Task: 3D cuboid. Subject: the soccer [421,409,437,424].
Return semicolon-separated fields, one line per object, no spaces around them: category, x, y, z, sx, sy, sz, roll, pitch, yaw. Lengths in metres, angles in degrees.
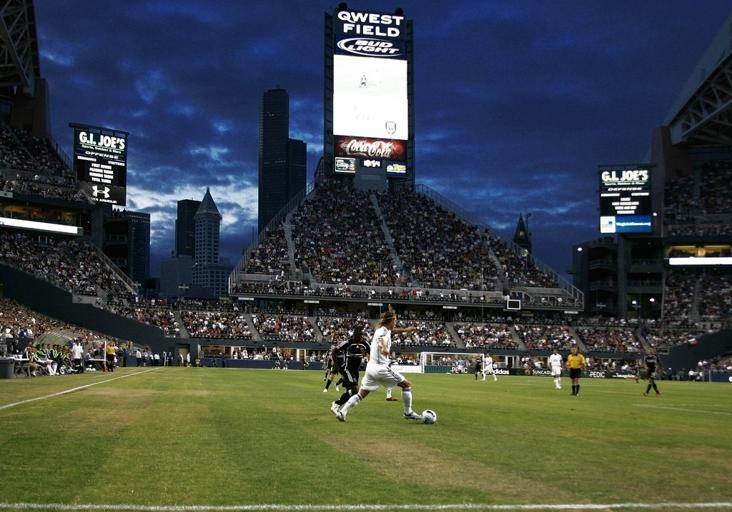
soccer;2.075;5.351;28.016;0.460;0.435;0.517;-1;-1;-1

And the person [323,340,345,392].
person;-1.234;4.907;37.824;0.990;2.463;0.904;5;10;2

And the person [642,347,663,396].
person;14.939;6.079;44.255;0.838;2.388;0.847;9;-12;-22
